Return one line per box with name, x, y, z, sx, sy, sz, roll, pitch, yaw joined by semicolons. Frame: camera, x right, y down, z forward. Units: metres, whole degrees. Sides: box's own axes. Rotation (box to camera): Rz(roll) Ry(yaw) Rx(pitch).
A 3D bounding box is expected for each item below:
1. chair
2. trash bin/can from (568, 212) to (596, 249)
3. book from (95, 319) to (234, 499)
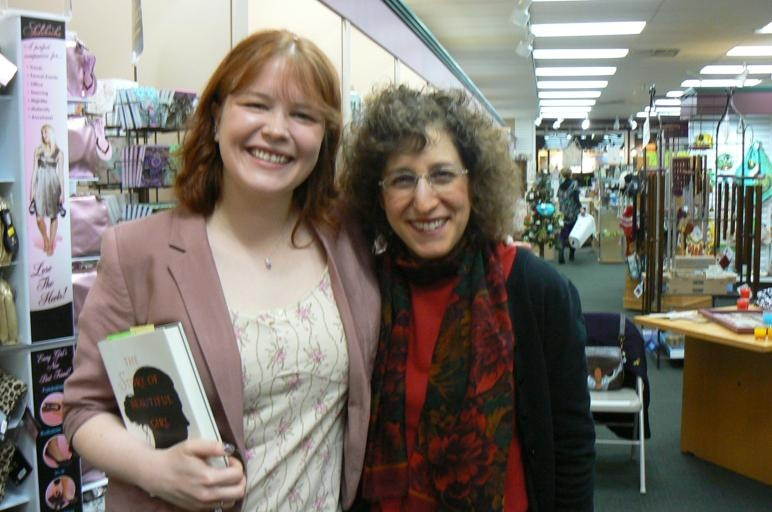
chair;1.744;1.126;4.836;0.661;1.202;0.698;-2;4;20
trash bin/can;4.909;-0.636;15.034;0.559;0.609;0.640;29;63;27
book;-0.782;0.545;2.113;0.460;0.685;0.118;-12;13;28
